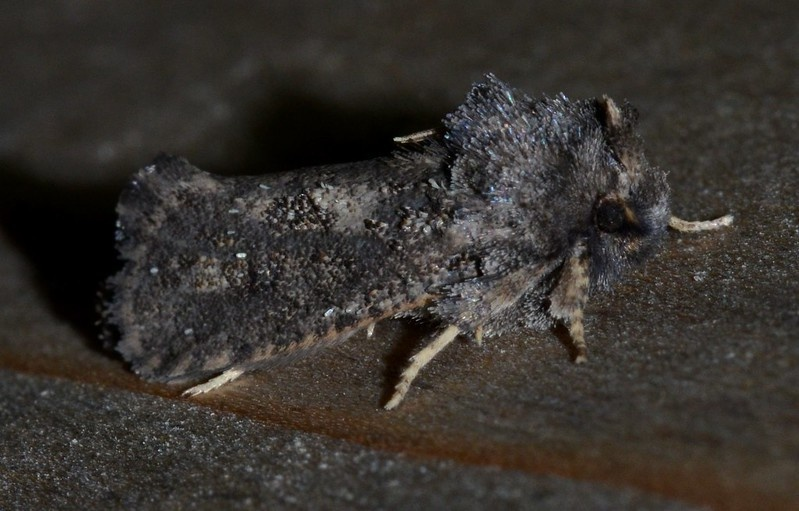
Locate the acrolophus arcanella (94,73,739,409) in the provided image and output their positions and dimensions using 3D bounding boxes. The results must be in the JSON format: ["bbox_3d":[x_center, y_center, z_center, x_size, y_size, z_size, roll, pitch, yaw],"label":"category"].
[{"bbox_3d":[0.035,-0.016,3.020,1.799,0.567,0.860,-7,69,1],"label":"acrolophus arcanella"}]
